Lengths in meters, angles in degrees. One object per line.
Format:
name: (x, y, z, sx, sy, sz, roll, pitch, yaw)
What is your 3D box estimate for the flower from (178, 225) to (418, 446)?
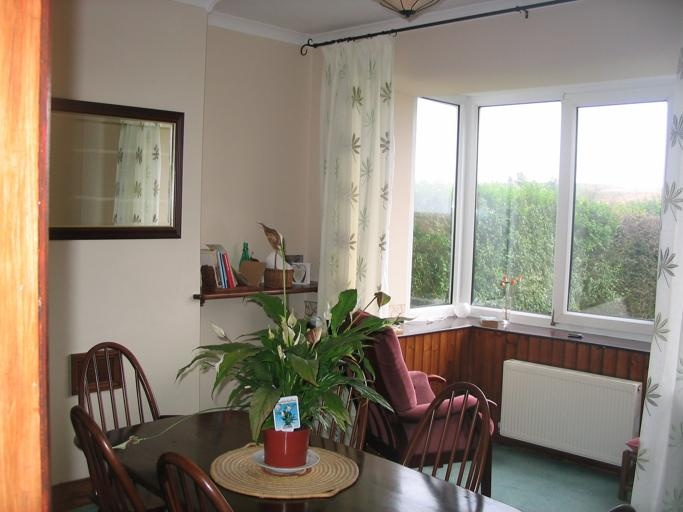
flower: (-0.144, 0.497, 2.428, 0.693, 1.197, 1.659, 0, 4, 2)

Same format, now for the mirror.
mirror: (-1.430, -0.552, 3.164, 0.916, 0.815, 0.075, 0, 1, -42)

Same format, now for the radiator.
radiator: (1.826, 1.299, 4.108, 1.056, 0.741, 0.145, 12, -7, -1)
